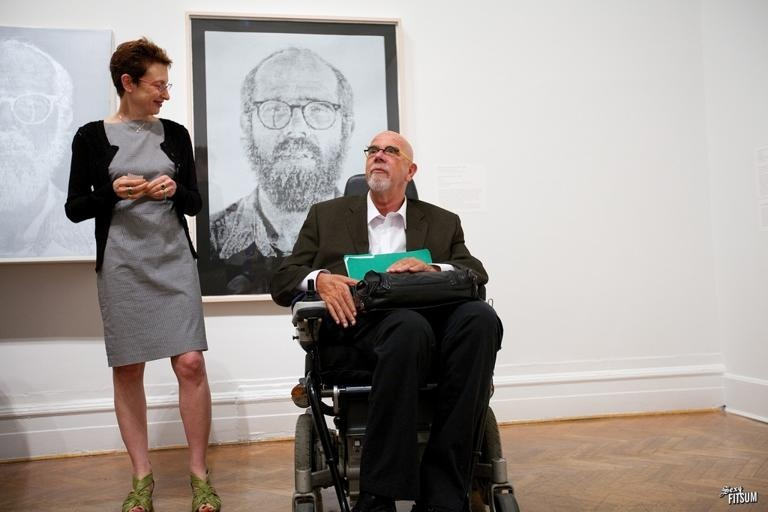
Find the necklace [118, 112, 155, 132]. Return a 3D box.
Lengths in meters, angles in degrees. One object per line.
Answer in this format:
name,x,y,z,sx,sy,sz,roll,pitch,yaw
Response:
necklace,-1.392,-0.768,3.701,0.144,0.077,0.089,-7,3,25

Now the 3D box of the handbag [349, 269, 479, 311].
handbag,0.164,0.160,3.173,0.437,0.143,0.252,1,1,-4

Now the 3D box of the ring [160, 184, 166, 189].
ring,-1.214,-0.387,3.573,0.022,0.024,0.016,8,9,38

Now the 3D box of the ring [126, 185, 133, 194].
ring,-1.376,-0.360,3.521,0.025,0.035,0.033,-2,6,3
